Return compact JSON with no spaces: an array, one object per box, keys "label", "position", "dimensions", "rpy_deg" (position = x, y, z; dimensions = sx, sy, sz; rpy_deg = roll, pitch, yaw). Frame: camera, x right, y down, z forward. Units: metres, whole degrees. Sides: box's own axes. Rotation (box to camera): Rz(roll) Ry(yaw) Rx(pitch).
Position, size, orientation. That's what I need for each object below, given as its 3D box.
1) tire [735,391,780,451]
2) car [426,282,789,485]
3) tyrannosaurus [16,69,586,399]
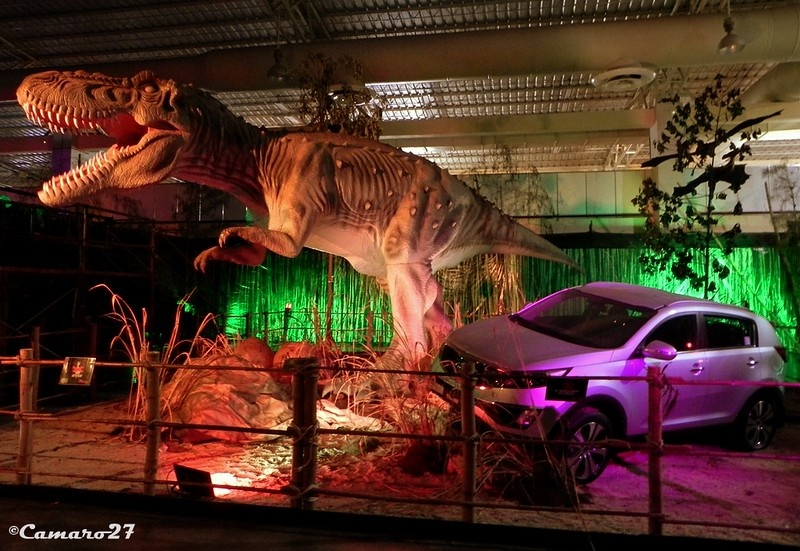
[{"label":"tire","position":[3.900,1.600,6.340],"dimensions":[0.666,0.663,0.231],"rpy_deg":[4,0,-27]},{"label":"car","position":[2.407,0.991,5.610],"dimensions":[4.082,1.882,2.679],"rpy_deg":[2,-1,-6]},{"label":"tyrannosaurus","position":[-0.691,-0.402,6.652],"dimensions":[6.453,2.754,1.013],"rpy_deg":[7,-4,-19]}]
